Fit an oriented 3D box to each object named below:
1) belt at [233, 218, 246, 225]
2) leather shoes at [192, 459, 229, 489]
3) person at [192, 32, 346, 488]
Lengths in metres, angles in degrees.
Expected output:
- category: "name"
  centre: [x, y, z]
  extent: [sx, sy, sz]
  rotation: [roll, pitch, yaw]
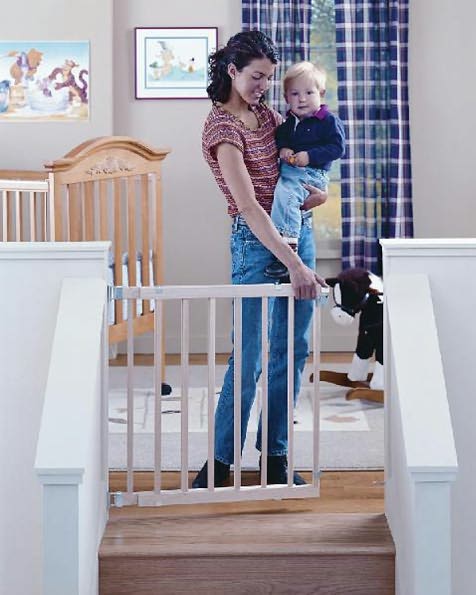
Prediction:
- category: "belt"
  centre: [0.005, -0.194, 1.975]
  extent: [0.021, 0.019, 0.021]
  rotation: [2, 0, -9]
- category: "leather shoes"
  centre: [-0.062, 0.457, 1.984]
  extent: [0.128, 0.086, 0.046]
  rotation: [5, -8, -22]
- category: "person"
  centre: [0.056, -0.081, 1.962]
  extent: [0.327, 1.148, 0.465]
  rotation: [1, 9, 6]
